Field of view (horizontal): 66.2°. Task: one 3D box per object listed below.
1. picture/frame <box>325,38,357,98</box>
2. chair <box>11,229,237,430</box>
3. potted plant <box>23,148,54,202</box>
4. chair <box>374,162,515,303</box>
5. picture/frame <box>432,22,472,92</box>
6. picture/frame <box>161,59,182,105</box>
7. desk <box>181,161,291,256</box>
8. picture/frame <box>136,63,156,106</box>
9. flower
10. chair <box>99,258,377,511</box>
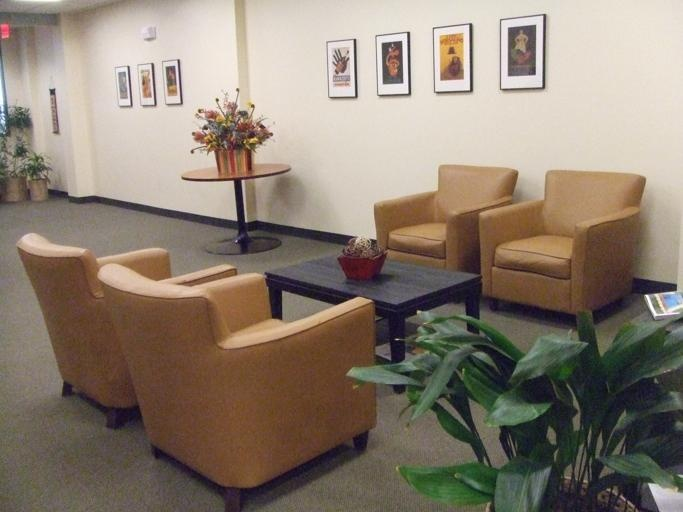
[{"bbox_3d":[0.008,-2.148,5.935,0.080,0.825,0.547,-9,14,-35],"label":"picture/frame"},{"bbox_3d":[-1.322,0.320,3.388,0.901,1.338,1.235,9,14,37],"label":"chair"},{"bbox_3d":[-6.000,-1.604,10.435,0.504,0.908,0.875,-13,20,-30],"label":"potted plant"},{"bbox_3d":[1.011,-0.319,5.057,1.009,1.215,1.113,9,16,40],"label":"chair"},{"bbox_3d":[1.083,-1.953,5.097,0.029,0.875,0.574,-12,16,-41],"label":"picture/frame"},{"bbox_3d":[-2.513,-2.615,7.816,0.067,0.860,0.558,-13,18,-42],"label":"picture/frame"},{"bbox_3d":[-1.255,-0.491,6.489,1.169,0.964,1.253,5,19,17],"label":"desk"},{"bbox_3d":[-3.068,-2.739,8.290,0.063,0.894,0.580,-7,12,-43],"label":"picture/frame"},{"bbox_3d":[-1.284,-1.479,6.471,0.988,0.832,1.108,0,6,4],"label":"flower"},{"bbox_3d":[-0.439,0.450,2.589,1.100,1.104,1.058,11,18,42],"label":"chair"}]
